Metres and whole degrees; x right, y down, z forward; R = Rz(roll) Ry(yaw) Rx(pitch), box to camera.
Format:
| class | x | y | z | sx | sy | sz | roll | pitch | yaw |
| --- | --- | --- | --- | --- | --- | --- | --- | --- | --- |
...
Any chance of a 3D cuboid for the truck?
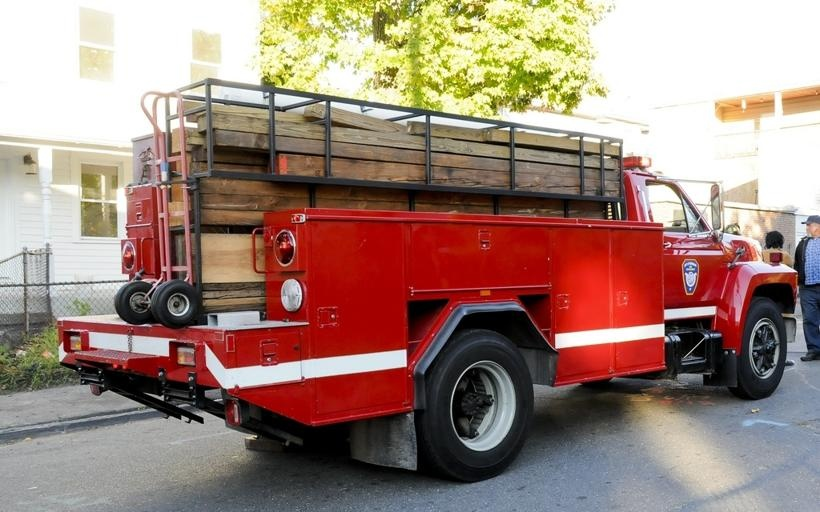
| class | x | y | z | sx | sy | sz | roll | pitch | yaw |
| --- | --- | --- | --- | --- | --- | --- | --- | --- | --- |
| truck | 1.461 | 0.163 | 8.847 | 10.269 | 3.959 | 4.104 | -1 | 1 | -38 |
